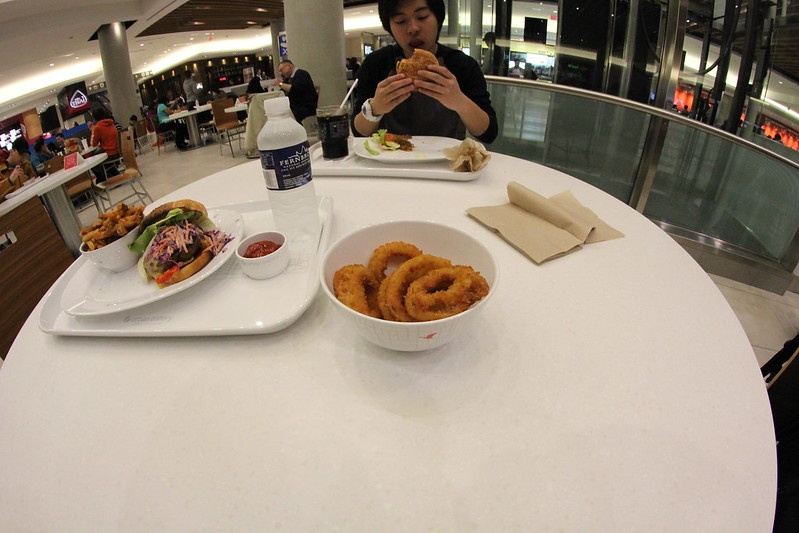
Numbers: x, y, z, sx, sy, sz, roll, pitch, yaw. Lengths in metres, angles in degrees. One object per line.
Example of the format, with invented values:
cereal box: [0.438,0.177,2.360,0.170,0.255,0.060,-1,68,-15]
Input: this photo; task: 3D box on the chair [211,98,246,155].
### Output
chair: [-2.479,-2.135,6.968,0.468,0.721,0.513,-15,24,-20]

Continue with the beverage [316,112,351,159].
beverage: [-0.248,-0.514,1.829,0.146,0.188,0.156,2,19,7]

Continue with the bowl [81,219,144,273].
bowl: [-0.778,-0.046,1.289,0.126,0.082,0.131,-2,25,1]

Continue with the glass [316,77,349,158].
glass: [-0.252,-0.615,1.855,0.105,0.333,0.146,10,23,17]

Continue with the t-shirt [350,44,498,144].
t-shirt: [0.140,-0.884,2.472,0.672,0.308,0.693,0,36,-2]

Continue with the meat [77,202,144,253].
meat: [-0.799,-0.117,1.334,0.145,0.075,0.158,-31,26,3]

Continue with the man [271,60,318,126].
man: [-1.213,-2.099,5.733,0.448,0.908,0.405,-20,31,-17]

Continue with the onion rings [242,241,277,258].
onion rings: [-0.390,-0.062,1.270,0.054,0.020,0.063,18,43,31]

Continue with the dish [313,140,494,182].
dish: [-0.045,-0.386,1.780,0.468,0.054,0.300,1,34,6]

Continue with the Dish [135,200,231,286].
Dish: [-0.616,-0.067,1.298,0.213,0.112,0.258,-8,36,-14]

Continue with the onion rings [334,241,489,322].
onion rings: [0.029,0.047,1.103,0.250,0.089,0.210,0,32,16]

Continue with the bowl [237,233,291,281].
bowl: [-0.376,-0.029,1.274,0.128,0.079,0.134,-1,33,1]

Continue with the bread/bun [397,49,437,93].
bread/bun: [0.065,-0.813,1.914,0.145,0.053,0.130,-20,78,0]

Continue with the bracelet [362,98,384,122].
bracelet: [-0.121,-0.714,2.159,0.085,0.069,0.117,11,47,-2]

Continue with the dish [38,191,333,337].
dish: [-0.541,0.063,1.193,0.445,0.056,0.485,-4,38,14]

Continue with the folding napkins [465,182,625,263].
folding napkins: [0.461,-0.202,1.381,0.301,0.073,0.307,-18,41,-29]
